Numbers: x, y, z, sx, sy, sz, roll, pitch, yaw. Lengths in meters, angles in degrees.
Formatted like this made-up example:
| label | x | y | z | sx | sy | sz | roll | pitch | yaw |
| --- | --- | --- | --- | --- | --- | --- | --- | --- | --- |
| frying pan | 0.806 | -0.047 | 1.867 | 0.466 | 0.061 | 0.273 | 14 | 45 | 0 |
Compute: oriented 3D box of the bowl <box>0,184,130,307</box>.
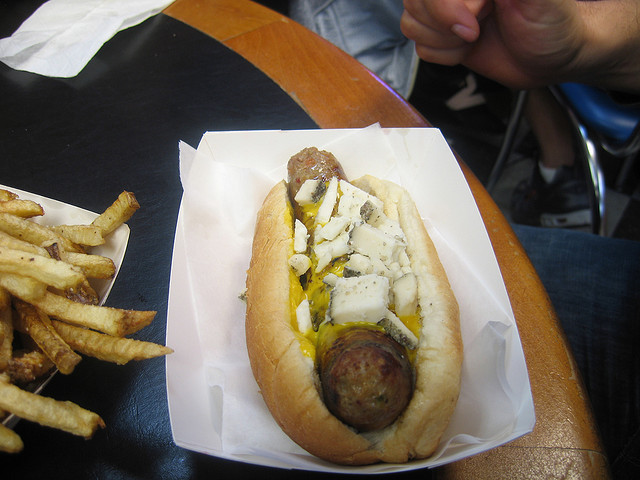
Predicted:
| label | x | y | z | sx | sy | sz | roll | pitch | yaw |
| --- | --- | --- | --- | --- | --- | --- | --- | --- | --- |
| bowl | -1.210 | -0.006 | 2.422 | 0.601 | 0.147 | 0.467 | 32 | 49 | -13 |
